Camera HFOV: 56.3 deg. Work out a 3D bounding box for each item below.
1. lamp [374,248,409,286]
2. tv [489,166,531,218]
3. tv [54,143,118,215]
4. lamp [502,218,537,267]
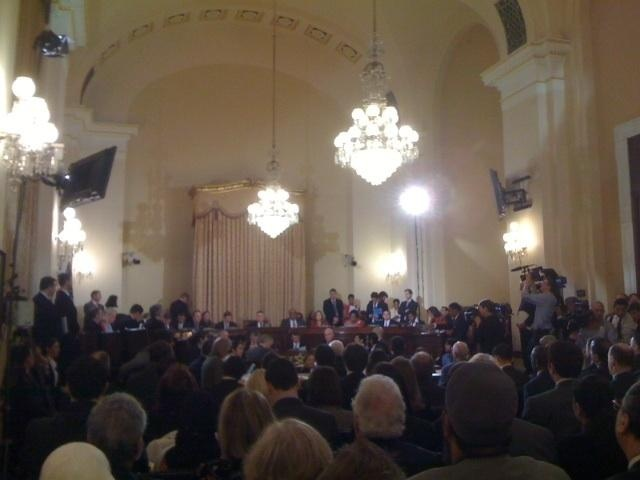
[{"bbox_3d":[1.892,0.707,15.970,0.202,0.848,0.849,10,1,-35],"label":"lamp"},{"bbox_3d":[3.613,-0.837,11.085,0.699,0.867,0.317,-15,-8,39],"label":"tv"},{"bbox_3d":[-4.019,-1.113,10.212,0.595,0.820,1.474,9,-13,-42],"label":"tv"},{"bbox_3d":[3.624,0.042,10.811,0.317,1.079,0.838,6,-12,-27],"label":"lamp"}]
